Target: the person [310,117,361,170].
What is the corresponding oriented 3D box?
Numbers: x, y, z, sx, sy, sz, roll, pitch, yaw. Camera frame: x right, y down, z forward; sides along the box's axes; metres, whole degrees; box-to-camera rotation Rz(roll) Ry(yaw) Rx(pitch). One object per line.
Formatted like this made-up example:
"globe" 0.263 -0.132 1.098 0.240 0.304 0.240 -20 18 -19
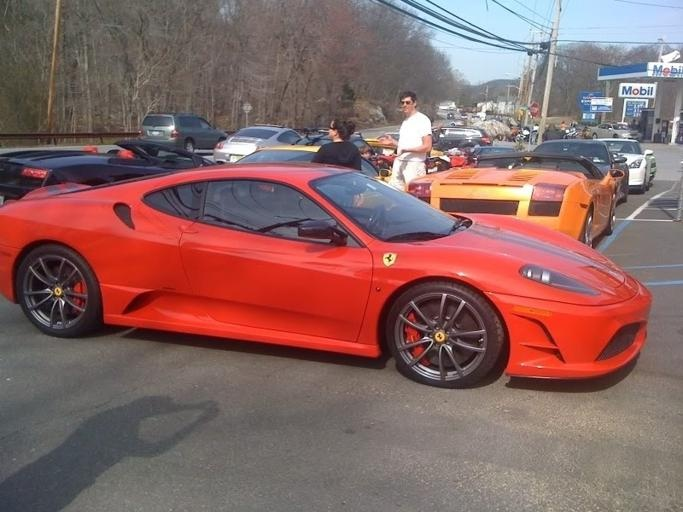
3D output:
"person" -0.020 -1.899 7.970 0.792 0.580 1.321 -21 25 0
